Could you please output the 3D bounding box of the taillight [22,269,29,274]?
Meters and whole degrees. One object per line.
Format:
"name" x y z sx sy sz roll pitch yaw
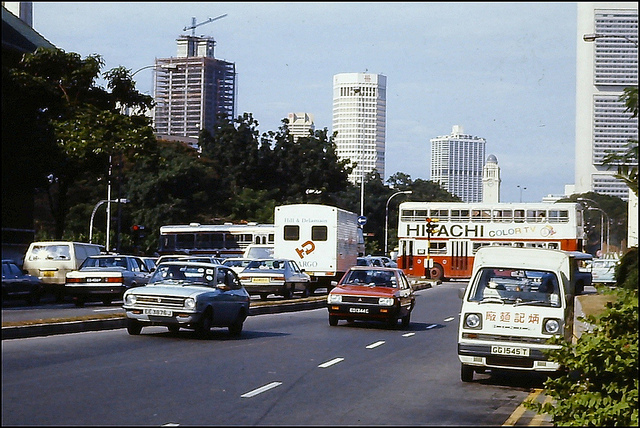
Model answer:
"taillight" -11.019 2.123 35.073 0.228 0.229 0.225 4 -11 -38

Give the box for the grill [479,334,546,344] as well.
"grill" 4.024 2.640 19.947 1.364 0.163 0.058 1 -1 8

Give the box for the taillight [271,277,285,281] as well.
"taillight" -1.771 2.622 38.079 0.539 0.156 0.080 2 -1 -18

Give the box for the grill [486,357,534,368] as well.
"grill" 3.967 3.132 19.892 0.982 0.194 0.093 1 -1 8

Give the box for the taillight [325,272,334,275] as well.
"taillight" 0.356 2.763 43.935 0.428 0.132 0.185 1 -1 7

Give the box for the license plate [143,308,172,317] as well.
"license plate" -4.105 2.448 23.506 0.852 0.176 0.072 0 -1 25

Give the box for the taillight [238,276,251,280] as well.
"taillight" -3.146 2.585 38.108 0.520 0.139 0.187 0 -2 28

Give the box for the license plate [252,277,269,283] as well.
"license plate" -2.466 2.657 38.031 0.659 0.232 0.081 1 -1 -4

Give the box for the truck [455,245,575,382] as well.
"truck" 4.295 2.279 20.807 2.372 2.781 2.998 1 -1 19

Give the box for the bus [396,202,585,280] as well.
"bus" 9.353 1.564 55.492 10.392 4.493 1.548 0 -1 26

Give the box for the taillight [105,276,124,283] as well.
"taillight" -7.432 2.347 33.753 0.633 0.232 0.191 2 -1 -16
